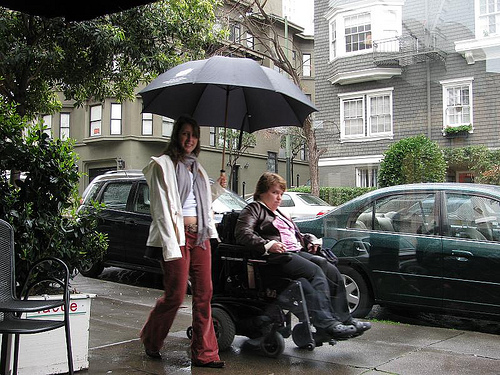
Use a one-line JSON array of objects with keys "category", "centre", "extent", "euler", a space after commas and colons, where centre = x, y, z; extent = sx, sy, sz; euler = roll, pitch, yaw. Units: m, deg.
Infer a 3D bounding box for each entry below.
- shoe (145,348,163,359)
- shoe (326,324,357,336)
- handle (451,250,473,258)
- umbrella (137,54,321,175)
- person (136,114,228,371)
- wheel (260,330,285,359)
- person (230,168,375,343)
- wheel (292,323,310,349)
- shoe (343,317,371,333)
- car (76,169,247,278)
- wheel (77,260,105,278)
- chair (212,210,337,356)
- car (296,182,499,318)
[{"category": "shoe", "centre": [-1.031, 1.805, 5.644], "extent": [0.214, 0.085, 0.073], "euler": [29, 18, -15]}, {"category": "shoe", "centre": [0.969, 1.494, 5.510], "extent": [0.321, 0.138, 0.118], "euler": [-11, 0, 15]}, {"category": "handle", "centre": [2.751, 0.862, 6.777], "extent": [0.263, 0.086, 0.024], "euler": [1, -1, 28]}, {"category": "umbrella", "centre": [-0.270, -1.078, 6.193], "extent": [1.773, 1.128, 1.681], "euler": [9, -13, -26]}, {"category": "person", "centre": [-0.704, 0.549, 5.434], "extent": [0.848, 2.645, 0.600], "euler": [2, -1, -12]}, {"category": "wheel", "centre": [0.248, 1.720, 5.704], "extent": [0.292, 0.297, 0.115], "euler": [-6, -5, 38]}, {"category": "person", "centre": [0.540, 0.745, 5.884], "extent": [1.422, 1.815, 0.616], "euler": [1, -1, 16]}, {"category": "wheel", "centre": [0.547, 1.584, 5.580], "extent": [0.061, 0.276, 0.205], "euler": [3, -2, -43]}, {"category": "shoe", "centre": [1.180, 1.482, 5.615], "extent": [0.341, 0.159, 0.123], "euler": [2, -2, 6]}, {"category": "car", "centre": [-2.336, 0.613, 9.984], "extent": [3.237, 1.676, 1.895], "euler": [-4, -5, 30]}, {"category": "wheel", "centre": [-3.195, 1.655, 10.582], "extent": [0.667, 0.259, 0.454], "euler": [1, -1, 19]}, {"category": "chair", "centre": [-0.025, 1.152, 6.265], "extent": [1.569, 1.499, 1.242], "euler": [8, -7, -29]}, {"category": "car", "centre": [2.098, 0.815, 7.775], "extent": [2.871, 1.309, 1.537], "euler": [-5, -5, 24]}]
